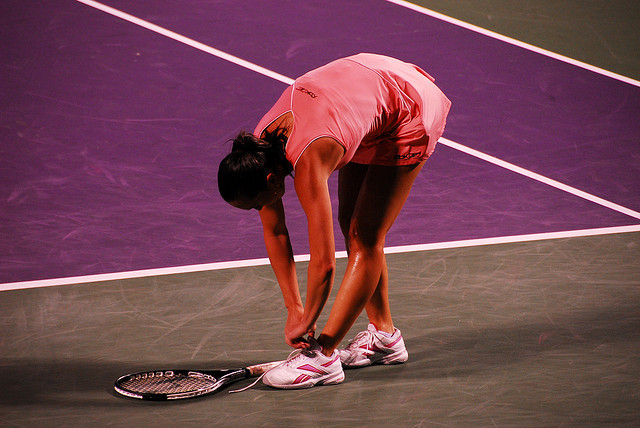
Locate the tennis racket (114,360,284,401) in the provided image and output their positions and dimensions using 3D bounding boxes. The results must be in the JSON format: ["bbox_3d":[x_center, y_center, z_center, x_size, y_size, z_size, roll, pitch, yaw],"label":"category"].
[{"bbox_3d":[-0.767,1.055,4.086,1.027,0.052,0.260,-2,6,-25],"label":"tennis racket"}]
